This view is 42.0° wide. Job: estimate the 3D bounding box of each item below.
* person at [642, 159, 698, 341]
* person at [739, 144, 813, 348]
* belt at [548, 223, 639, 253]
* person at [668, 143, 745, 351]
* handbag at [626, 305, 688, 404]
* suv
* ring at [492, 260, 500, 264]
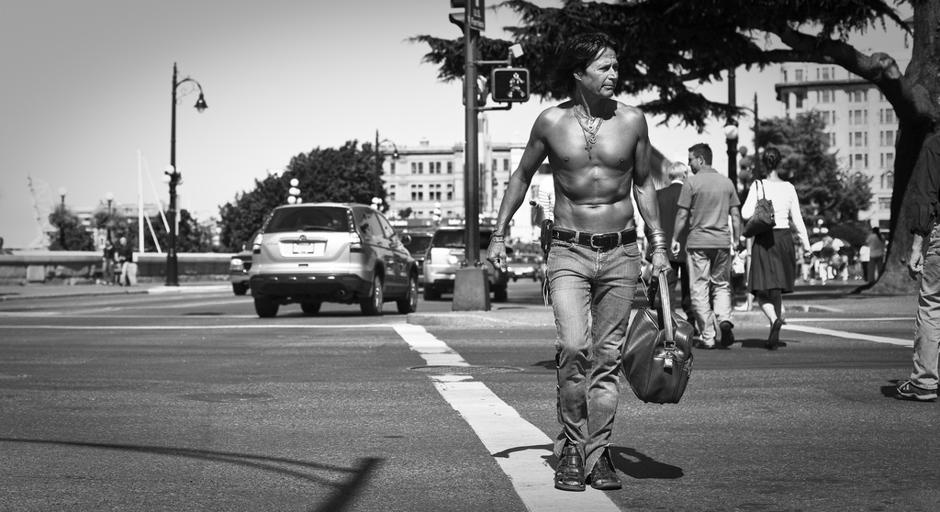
[{"bbox_3d":[3.744,-0.317,21.719,1.228,3.290,1.306,0,0,6],"label":"person"},{"bbox_3d":[5.145,-0.138,20.796,1.067,3.365,1.347,-2,4,13],"label":"person"},{"bbox_3d":[1.453,-0.196,14.449,1.006,0.324,0.154,-3,4,0],"label":"belt"},{"bbox_3d":[3.991,-0.216,20.772,1.379,3.411,0.996,2,-4,-17],"label":"person"},{"bbox_3d":[2.207,1.197,14.480,0.828,1.143,0.340,-3,4,8],"label":"handbag"},{"bbox_3d":[-2.697,0.054,27.538,2.039,1.590,4.163,-2,1,15],"label":"suv"},{"bbox_3d":[0.309,0.086,14.523,0.051,0.056,0.021,2,-7,-4],"label":"ring"}]
